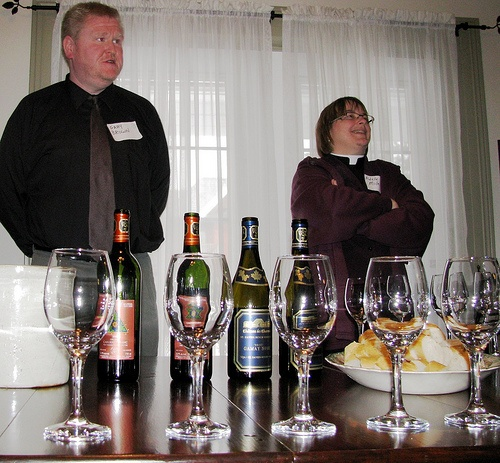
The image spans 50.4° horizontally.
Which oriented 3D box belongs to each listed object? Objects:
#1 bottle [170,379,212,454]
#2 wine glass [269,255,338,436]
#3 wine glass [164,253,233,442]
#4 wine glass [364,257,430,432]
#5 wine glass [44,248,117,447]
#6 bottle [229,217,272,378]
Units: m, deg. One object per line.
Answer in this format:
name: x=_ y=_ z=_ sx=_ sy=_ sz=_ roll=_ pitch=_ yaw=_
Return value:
bottle: x=-0.079 y=0.286 z=0.783 sx=0.049 sy=0.106 sz=0.055 roll=2 pitch=-6 yaw=-3
wine glass: x=0.073 y=0.147 z=0.713 sx=0.091 sy=0.229 sz=0.101 roll=-2 pitch=-2 yaw=8
wine glass: x=-0.067 y=0.143 z=0.718 sx=0.091 sy=0.230 sz=0.139 roll=-2 pitch=-2 yaw=-3
wine glass: x=0.204 y=0.148 z=0.733 sx=0.091 sy=0.224 sz=0.115 roll=-2 pitch=-2 yaw=16
wine glass: x=-0.229 y=0.139 z=0.721 sx=0.090 sy=0.233 sz=0.204 roll=-1 pitch=-2 yaw=-18
bottle: x=-0.003 y=0.129 z=1.060 sx=0.088 sy=0.319 sz=0.295 roll=-2 pitch=-1 yaw=0
